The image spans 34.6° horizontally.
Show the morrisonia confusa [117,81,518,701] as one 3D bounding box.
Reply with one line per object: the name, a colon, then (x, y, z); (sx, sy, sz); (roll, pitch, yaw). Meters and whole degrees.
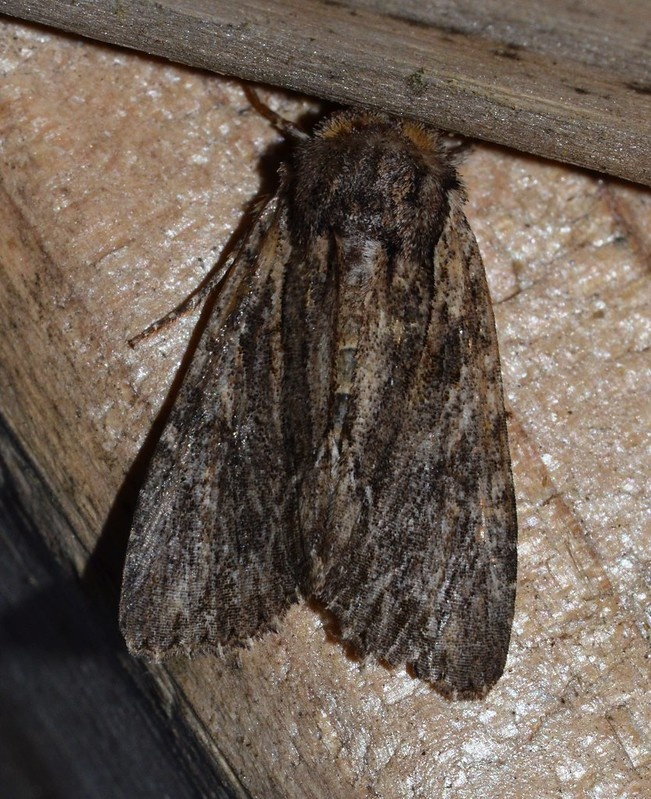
morrisonia confusa: (0.021, -0.091, 3.185); (1.423, 0.510, 1.943); (11, 75, -33)
